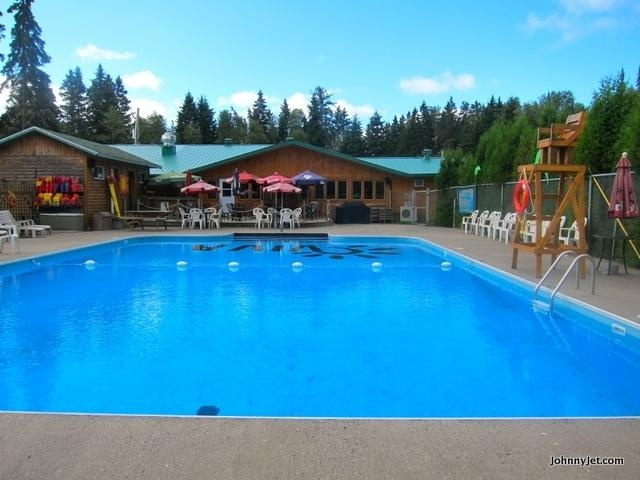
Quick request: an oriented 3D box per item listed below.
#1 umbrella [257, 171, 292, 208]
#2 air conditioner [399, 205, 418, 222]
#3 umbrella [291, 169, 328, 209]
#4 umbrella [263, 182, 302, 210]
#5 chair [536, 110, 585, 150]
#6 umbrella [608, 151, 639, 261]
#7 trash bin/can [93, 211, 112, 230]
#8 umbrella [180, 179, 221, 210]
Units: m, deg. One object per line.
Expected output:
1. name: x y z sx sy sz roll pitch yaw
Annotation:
1. umbrella: -2.080 -2.178 23.942 1.437 0.891 1.634 4 13 16
2. air conditioner: 4.640 -1.284 27.211 0.838 1.048 0.689 0 0 33
3. umbrella: -0.563 -2.566 26.239 2.001 0.947 2.209 1 3 -2
4. umbrella: -1.648 -2.234 22.375 1.385 1.170 1.527 0 14 -3
5. chair: 4.524 -1.986 9.803 0.671 0.848 0.823 1 3 -2
6. umbrella: 5.397 -0.952 9.202 0.438 1.165 0.423 6 10 31
7. trash bin/can: -8.575 -0.735 20.720 0.536 0.747 0.838 -2 3 4
8. umbrella: -5.089 -2.175 22.359 1.607 1.450 1.738 -6 10 -22
